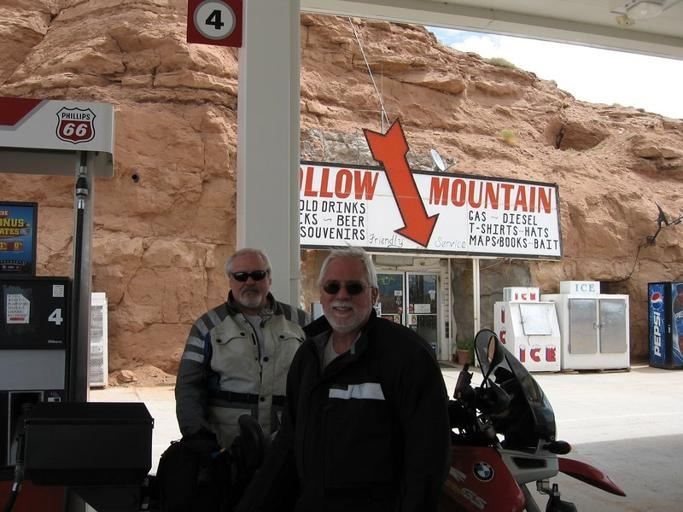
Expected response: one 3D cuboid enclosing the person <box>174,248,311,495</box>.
[{"bbox_3d":[-0.690,1.190,5.495,1.083,2.368,0.833,-3,17,-14],"label":"person"}]
